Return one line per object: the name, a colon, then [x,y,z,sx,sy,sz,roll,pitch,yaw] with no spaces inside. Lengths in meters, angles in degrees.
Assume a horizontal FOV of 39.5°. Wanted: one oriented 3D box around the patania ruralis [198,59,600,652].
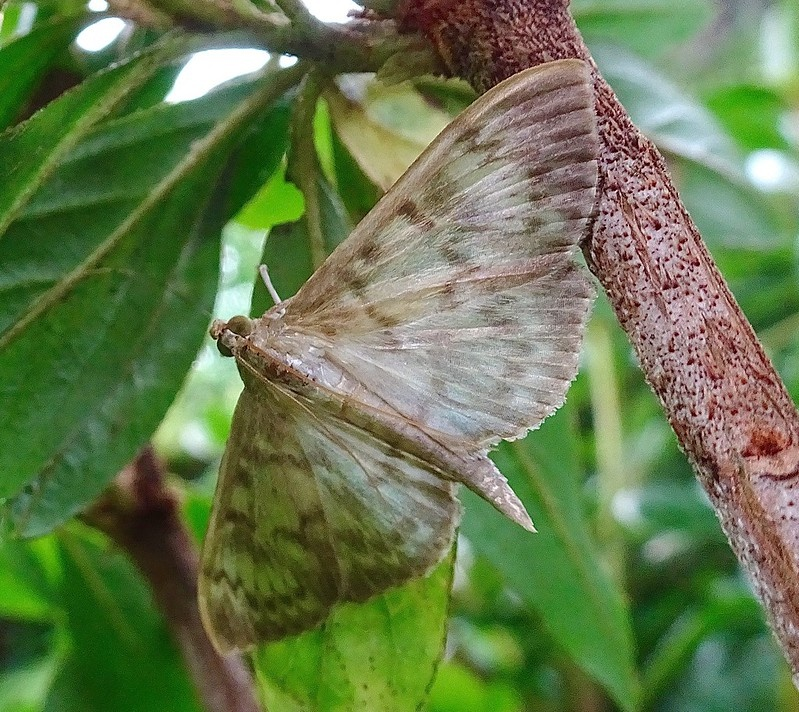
patania ruralis: [0.021,0.046,0.861,0.203,0.334,0.467,24,-31,-28]
